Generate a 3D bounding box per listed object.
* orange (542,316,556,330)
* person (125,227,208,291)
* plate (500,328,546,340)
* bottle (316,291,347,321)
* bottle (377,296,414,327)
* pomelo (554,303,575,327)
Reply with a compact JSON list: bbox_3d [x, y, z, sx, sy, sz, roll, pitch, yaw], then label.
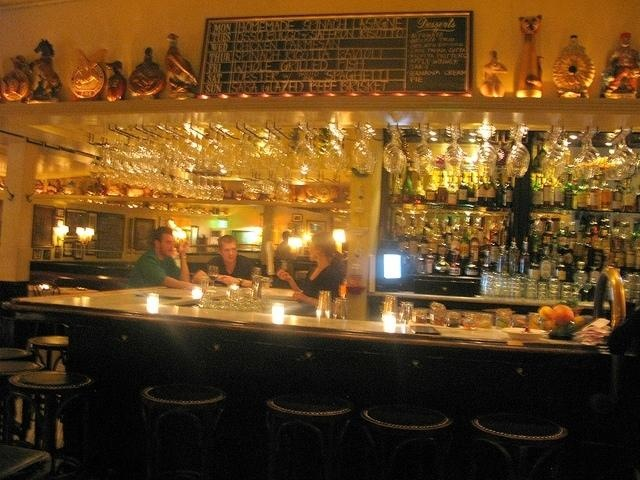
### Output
[{"bbox_3d":[1.464,0.530,3.664,0.092,0.080,0.077,-8,17,-6],"label":"orange"},{"bbox_3d":[-1.568,0.207,6.124,1.018,0.561,0.581,3,5,-5],"label":"person"},{"bbox_3d":[1.304,0.596,3.654,0.270,0.034,0.383,2,-1,16],"label":"plate"},{"bbox_3d":[0.091,0.473,4.147,0.208,0.186,0.281,3,-2,2],"label":"bottle"},{"bbox_3d":[0.536,0.483,3.949,0.193,0.173,0.180,3,-2,1],"label":"bottle"},{"bbox_3d":[1.562,0.480,3.677,0.127,0.120,0.191,3,-2,18],"label":"pomelo"}]
